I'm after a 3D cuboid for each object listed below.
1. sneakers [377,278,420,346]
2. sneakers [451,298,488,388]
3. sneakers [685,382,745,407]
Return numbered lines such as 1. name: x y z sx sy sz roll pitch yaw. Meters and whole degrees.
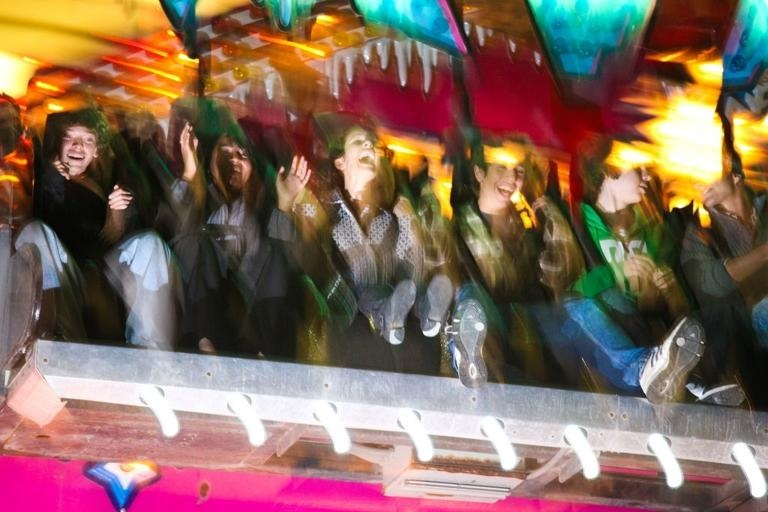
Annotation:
1. sneakers: 0.073 0.316 4.947 0.206 0.378 0.181 -3 12 -1
2. sneakers: 0.450 0.471 4.673 0.151 0.476 0.173 1 -8 -8
3. sneakers: 1.840 0.734 4.836 0.239 0.099 0.149 8 -6 13
